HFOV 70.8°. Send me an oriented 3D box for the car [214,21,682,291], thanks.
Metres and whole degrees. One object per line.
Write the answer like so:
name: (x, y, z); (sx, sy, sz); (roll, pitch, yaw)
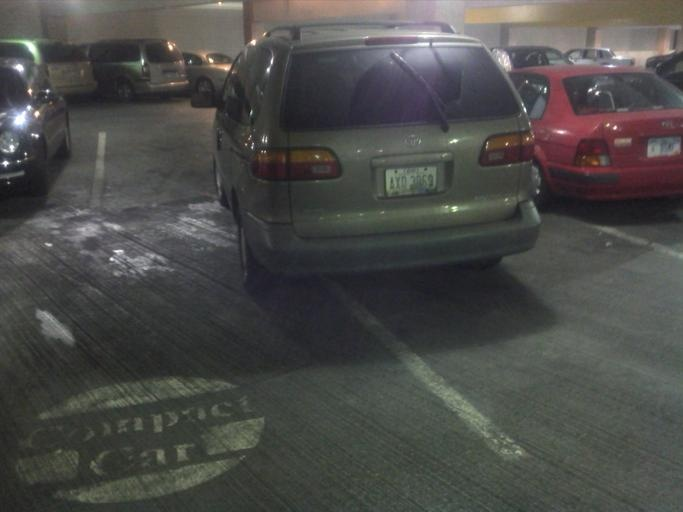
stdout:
car: (0.289, -0.774, 4.018); (2.400, 2.127, 1.524); (-7, 23, -14)
